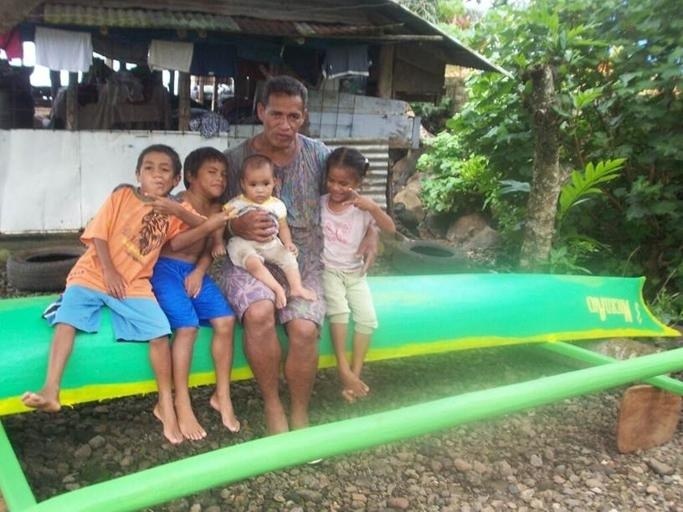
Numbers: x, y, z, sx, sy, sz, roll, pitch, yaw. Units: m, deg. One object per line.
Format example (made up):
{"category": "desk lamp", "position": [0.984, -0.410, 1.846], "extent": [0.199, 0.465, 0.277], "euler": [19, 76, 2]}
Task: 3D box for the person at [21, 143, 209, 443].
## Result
{"category": "person", "position": [-1.365, 0.278, 3.664], "extent": [0.977, 1.947, 0.632], "euler": [-1, 10, -24]}
